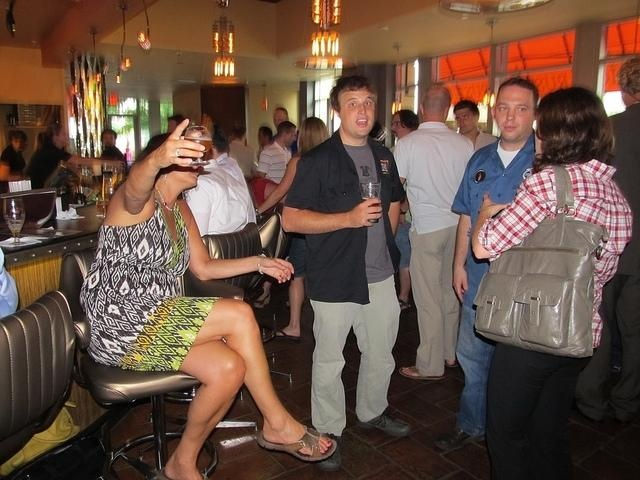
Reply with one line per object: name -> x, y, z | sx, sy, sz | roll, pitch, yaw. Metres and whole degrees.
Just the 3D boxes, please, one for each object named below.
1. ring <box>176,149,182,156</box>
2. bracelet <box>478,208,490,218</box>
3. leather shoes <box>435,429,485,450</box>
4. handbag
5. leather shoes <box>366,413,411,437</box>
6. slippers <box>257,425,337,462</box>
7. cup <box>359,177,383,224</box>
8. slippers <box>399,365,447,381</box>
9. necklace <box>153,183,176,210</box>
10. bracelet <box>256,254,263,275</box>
ring -> -0.554, -0.338, 1.821 | 0.018, 0.025, 0.008 | -2, 3, -8
bracelet -> 0.729, -0.120, 2.096 | 0.038, 0.050, 0.028 | -2, -22, 21
leather shoes -> 0.820, 1.133, 2.756 | 0.303, 0.119, 0.102 | -1, 9, -14
handbag -> 0.875, 0.067, 1.899 | 0.448, 0.701, 0.266 | 7, 17, 36
leather shoes -> 0.410, 1.092, 2.847 | 0.272, 0.113, 0.111 | 4, 13, 18
slippers -> -0.127, 1.004, 2.348 | 0.354, 0.114, 0.178 | 5, 14, 2
cup -> 0.223, -0.214, 2.251 | 0.090, 0.136, 0.089 | -1, 20, 0
slippers -> 0.725, 0.938, 3.439 | 0.276, 0.081, 0.111 | 3, 4, 13
necklace -> -0.727, -0.203, 2.198 | 0.079, 0.104, 0.026 | -14, -8, -44
bracelet -> -0.328, 0.142, 2.548 | 0.054, 0.136, 0.103 | 1, 2, -8
